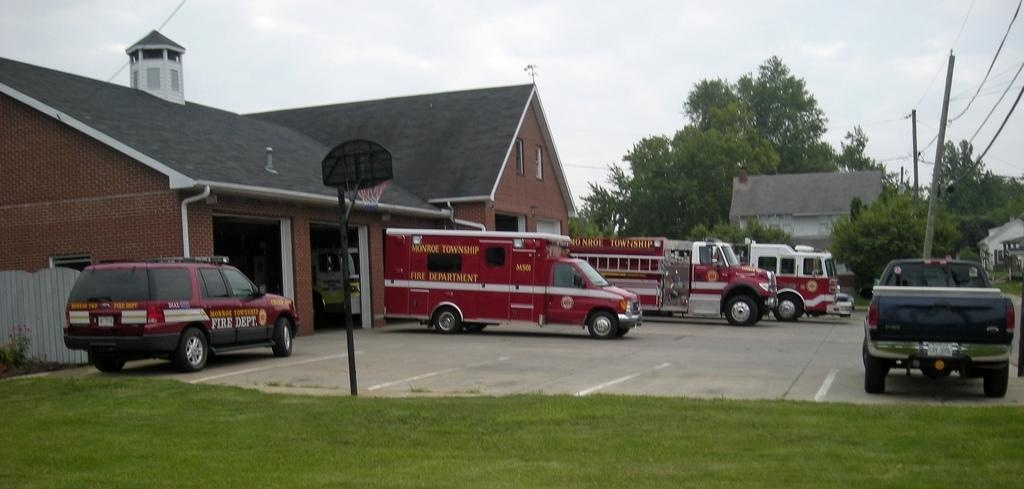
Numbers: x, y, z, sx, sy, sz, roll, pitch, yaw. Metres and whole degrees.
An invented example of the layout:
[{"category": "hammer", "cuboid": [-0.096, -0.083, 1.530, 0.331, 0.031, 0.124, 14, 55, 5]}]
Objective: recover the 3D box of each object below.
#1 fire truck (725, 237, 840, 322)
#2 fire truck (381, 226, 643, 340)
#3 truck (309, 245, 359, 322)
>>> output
[{"category": "fire truck", "cuboid": [13.809, 1.905, 50.592, 5.600, 3.029, 3.649, -1, 1, 17]}, {"category": "fire truck", "cuboid": [0.319, 1.811, 44.927, 12.256, 4.352, 4.385, 1, 4, 28]}, {"category": "truck", "cuboid": [-8.540, 1.931, 47.687, 1.523, 3.487, 3.989, 0, -5, -30]}]
